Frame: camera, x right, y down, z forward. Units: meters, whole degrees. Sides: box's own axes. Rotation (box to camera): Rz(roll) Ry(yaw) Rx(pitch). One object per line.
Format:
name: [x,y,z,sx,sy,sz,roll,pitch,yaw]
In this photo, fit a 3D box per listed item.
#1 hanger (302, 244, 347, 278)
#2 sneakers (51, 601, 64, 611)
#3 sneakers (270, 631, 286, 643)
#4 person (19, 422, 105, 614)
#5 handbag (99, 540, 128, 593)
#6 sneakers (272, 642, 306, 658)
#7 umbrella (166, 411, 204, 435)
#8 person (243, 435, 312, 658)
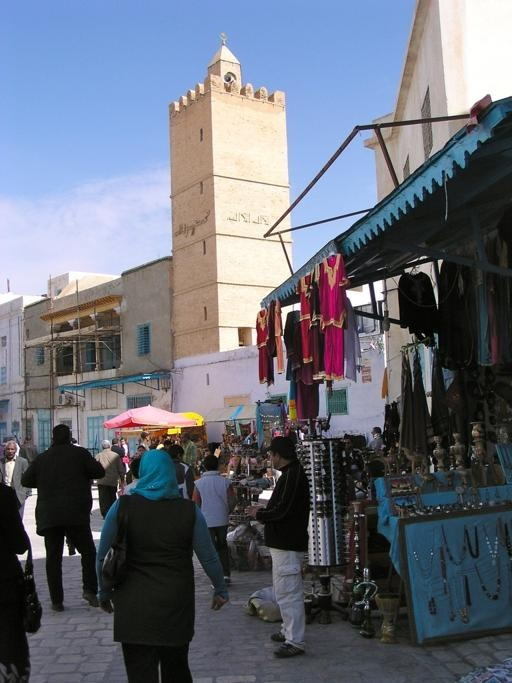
hanger: [0.561,-0.613,6.215,0.118,0.058,0.720,-5,-17,-12]
sneakers: [-1.700,2.266,6.886,0.045,0.091,0.128,4,-3,-28]
sneakers: [0.162,2.101,5.780,0.078,0.063,0.139,4,8,-1]
person: [-1.674,1.530,7.059,0.651,1.607,0.490,-3,-11,-10]
handbag: [-0.632,1.030,3.616,0.097,0.196,0.179,1,-12,-10]
sneakers: [0.212,2.060,5.371,0.225,0.101,0.078,4,-4,-5]
umbrella: [-1.932,2.328,23.360,0.881,0.531,0.875,4,-10,-28]
person: [0.180,1.391,5.520,0.336,1.360,0.445,-4,-1,14]
